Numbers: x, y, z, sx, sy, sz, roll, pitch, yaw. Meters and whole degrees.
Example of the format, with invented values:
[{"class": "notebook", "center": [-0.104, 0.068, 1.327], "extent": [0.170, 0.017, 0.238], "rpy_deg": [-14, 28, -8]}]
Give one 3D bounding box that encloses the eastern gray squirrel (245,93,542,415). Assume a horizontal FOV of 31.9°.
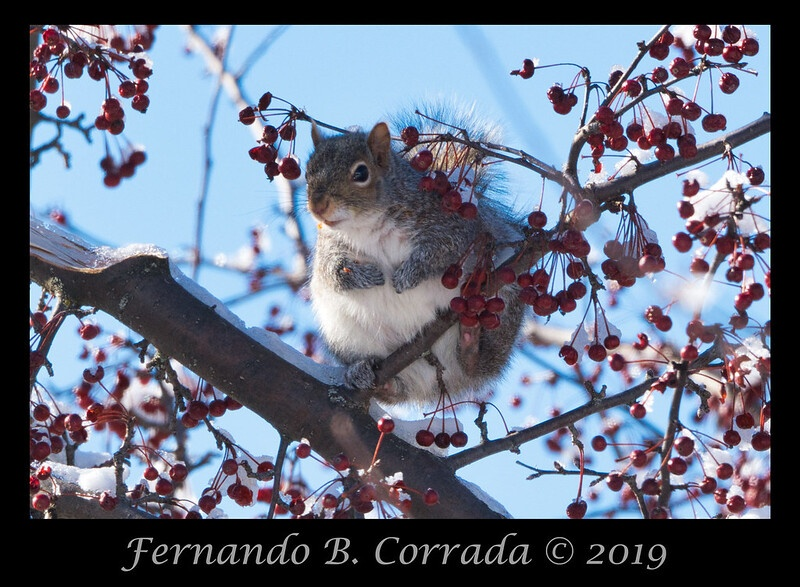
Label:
[{"class": "eastern gray squirrel", "center": [-0.009, -0.315, 9.300], "extent": [1.150, 1.425, 1.745], "rpy_deg": [-14, -15, 35]}]
